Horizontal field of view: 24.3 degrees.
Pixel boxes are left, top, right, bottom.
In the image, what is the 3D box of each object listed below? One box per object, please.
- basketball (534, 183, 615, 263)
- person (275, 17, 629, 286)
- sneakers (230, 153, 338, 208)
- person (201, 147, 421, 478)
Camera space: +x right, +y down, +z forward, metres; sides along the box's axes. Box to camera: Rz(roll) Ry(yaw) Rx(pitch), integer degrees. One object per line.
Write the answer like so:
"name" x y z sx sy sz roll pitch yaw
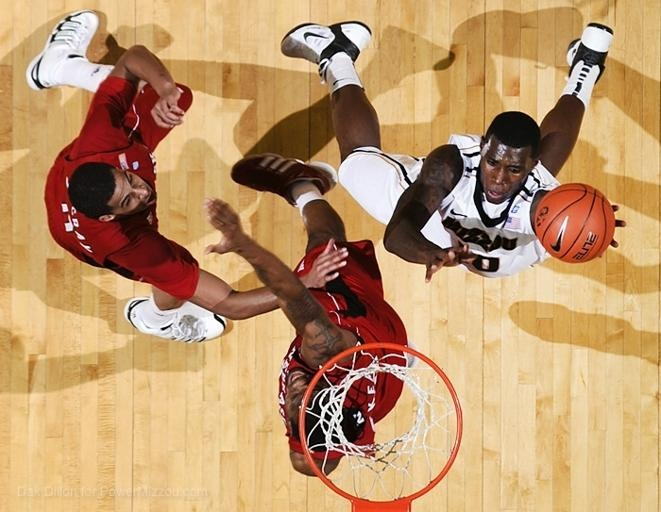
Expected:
"basketball" 1.233 -0.179 8.053 0.406 0.404 0.145 10 -9 3
"person" 0.588 -0.478 8.688 1.330 1.541 0.645 -5 -24 2
"sneakers" -0.283 -0.476 8.675 0.627 0.251 0.276 5 24 -2
"person" -0.112 0.365 8.317 0.653 1.438 1.344 -4 23 0
